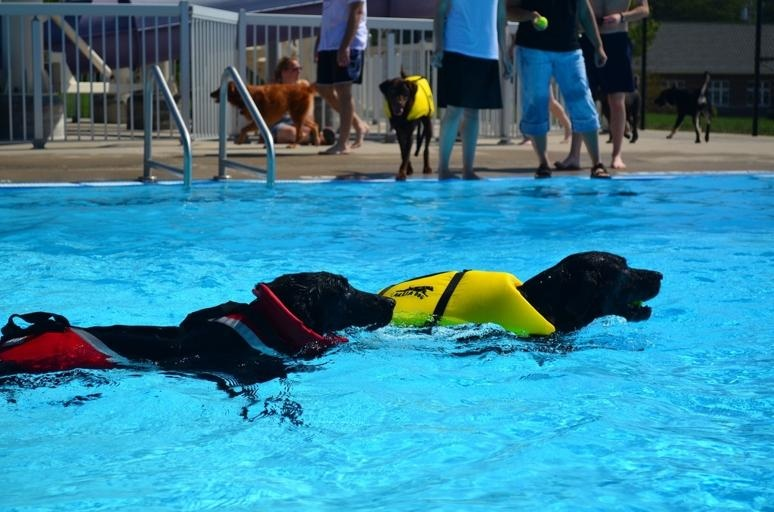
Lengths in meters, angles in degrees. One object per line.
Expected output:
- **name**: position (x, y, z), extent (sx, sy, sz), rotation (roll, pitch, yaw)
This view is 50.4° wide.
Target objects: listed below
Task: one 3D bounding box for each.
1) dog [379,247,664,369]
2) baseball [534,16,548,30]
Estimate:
- **dog**: position (0.516, 0.214, 3.543), extent (1.226, 0.465, 0.375), rotation (2, -15, 11)
- **baseball**: position (1.337, -2.007, 7.116), extent (0.131, 0.114, 0.198), rotation (2, 7, 9)
